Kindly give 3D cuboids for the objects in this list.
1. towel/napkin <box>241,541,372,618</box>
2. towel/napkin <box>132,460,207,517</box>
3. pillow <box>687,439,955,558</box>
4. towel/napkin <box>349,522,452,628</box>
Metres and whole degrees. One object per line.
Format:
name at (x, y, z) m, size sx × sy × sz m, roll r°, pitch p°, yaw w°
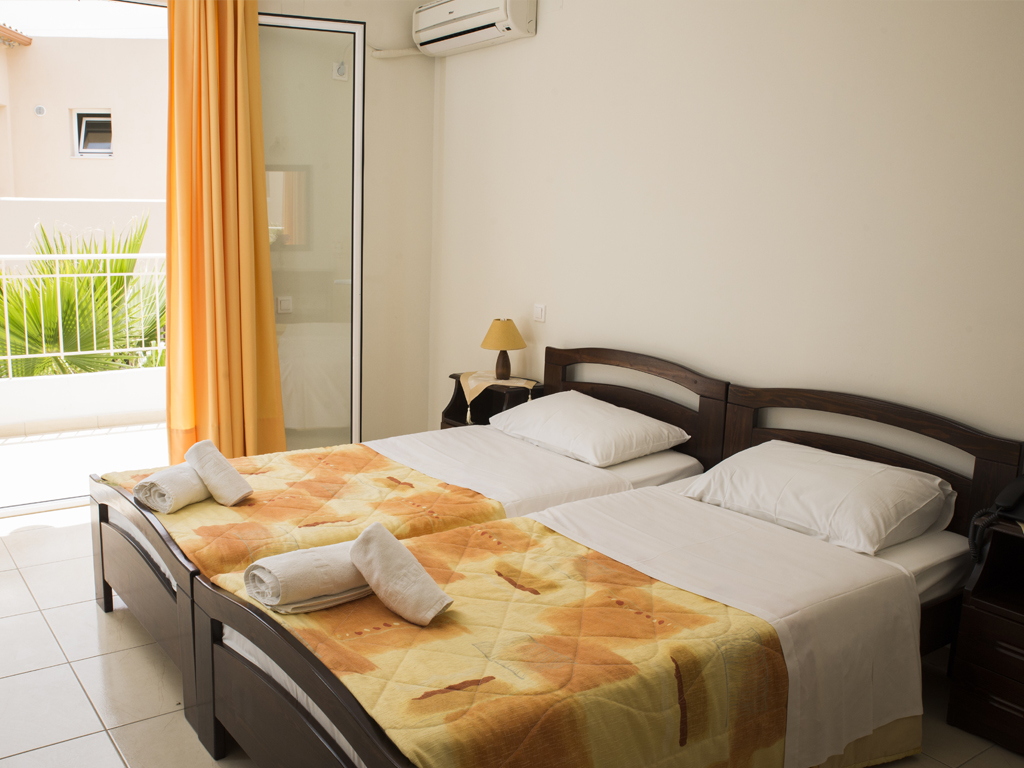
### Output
towel/napkin at (-0.606, 0.563, 2.130) m, size 0.282 × 0.083 × 0.190 m, roll -8°, pitch 15°, yaw -37°
towel/napkin at (-1.316, 0.403, 2.781) m, size 0.176 × 0.080 × 0.216 m, roll 18°, pitch 22°, yaw 28°
pillow at (1.244, 0.390, 2.748) m, size 0.442 × 0.154 × 0.607 m, roll -15°, pitch 17°, yaw -37°
towel/napkin at (-0.329, 0.554, 2.101) m, size 0.187 × 0.079 × 0.323 m, roll -34°, pitch 61°, yaw -27°
